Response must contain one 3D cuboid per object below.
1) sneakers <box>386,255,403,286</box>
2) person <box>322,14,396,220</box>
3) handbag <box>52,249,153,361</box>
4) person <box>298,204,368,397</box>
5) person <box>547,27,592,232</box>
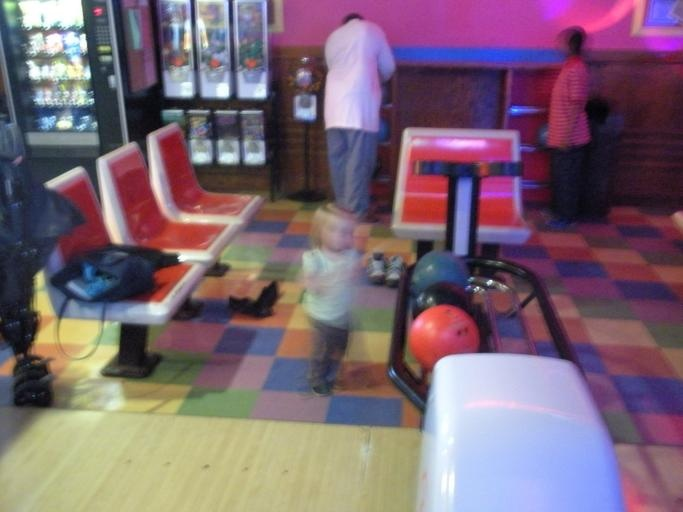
[{"bbox_3d":[0.298,0.101,3.320,0.089,0.120,0.288,4,14,3],"label":"sneakers"},{"bbox_3d":[0.119,-1.057,4.132,0.526,1.436,0.389,1,25,3],"label":"person"},{"bbox_3d":[-0.977,0.119,2.173,0.359,0.243,0.190,1,24,5],"label":"handbag"},{"bbox_3d":[-0.025,0.210,2.265,0.296,0.886,0.265,2,24,-8],"label":"person"},{"bbox_3d":[1.851,-1.042,4.362,0.341,1.554,0.504,10,27,22],"label":"person"}]
